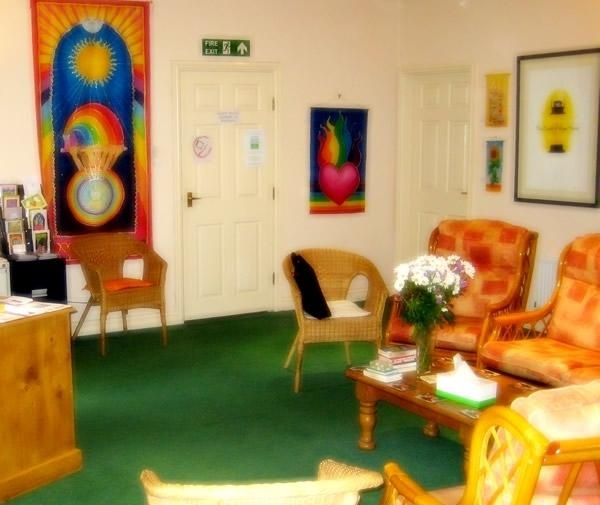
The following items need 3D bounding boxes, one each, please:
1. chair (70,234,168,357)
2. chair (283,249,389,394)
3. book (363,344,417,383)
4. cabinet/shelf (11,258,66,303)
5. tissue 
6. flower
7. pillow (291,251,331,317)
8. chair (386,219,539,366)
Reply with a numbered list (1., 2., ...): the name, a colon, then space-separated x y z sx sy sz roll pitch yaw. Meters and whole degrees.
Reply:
1. chair: -1.885 0.383 4.830 0.903 1.105 0.733 -4 10 -28
2. chair: 0.364 0.512 4.280 1.069 1.456 1.060 0 -1 -15
3. book: 0.564 0.703 2.975 0.237 0.086 0.198 -5 6 -33
4. cabinet/shelf: -2.491 0.232 4.506 0.527 0.544 0.357 -2 -5 -36
5. tissue : 0.913 0.697 2.560 0.323 0.236 0.201 4 9 26
6. flower: 0.852 0.332 3.195 0.615 0.950 0.660 1 4 13
7. pillow: 0.050 0.278 3.915 0.260 0.456 0.516 -4 9 -25
8. chair: 1.328 0.239 4.235 1.077 1.514 1.309 3 2 32
